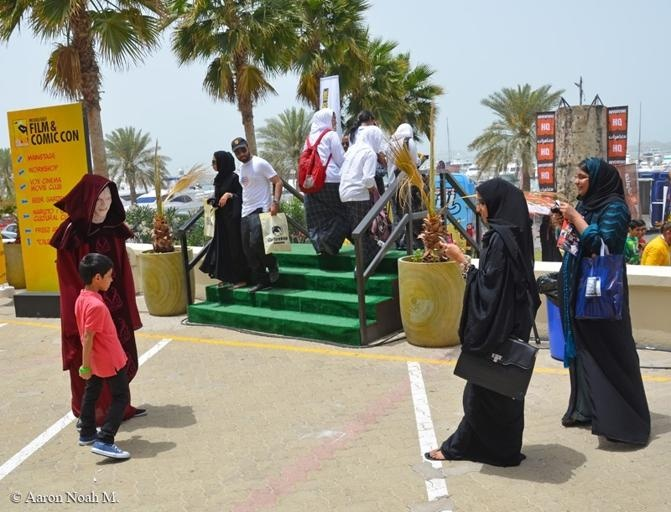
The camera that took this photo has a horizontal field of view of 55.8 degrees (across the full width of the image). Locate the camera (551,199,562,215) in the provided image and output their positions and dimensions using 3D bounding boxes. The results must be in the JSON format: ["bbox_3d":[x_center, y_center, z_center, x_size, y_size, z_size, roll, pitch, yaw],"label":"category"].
[{"bbox_3d":[2.013,-0.438,5.786,0.093,0.083,0.241,-21,11,11],"label":"camera"}]

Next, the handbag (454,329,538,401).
[{"bbox_3d":[1.233,0.848,4.897,0.694,0.542,0.249,15,-1,38],"label":"handbag"}]

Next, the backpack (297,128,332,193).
[{"bbox_3d":[-0.314,-1.283,8.719,0.502,0.852,0.350,5,13,34],"label":"backpack"}]

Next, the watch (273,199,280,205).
[{"bbox_3d":[-0.802,-0.747,8.708,0.082,0.056,0.077,3,-13,-28],"label":"watch"}]

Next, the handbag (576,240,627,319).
[{"bbox_3d":[2.235,0.209,5.374,0.355,0.646,0.238,2,12,22],"label":"handbag"}]

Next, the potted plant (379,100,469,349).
[{"bbox_3d":[1.147,-0.362,7.975,1.021,2.883,0.903,1,3,3],"label":"potted plant"}]

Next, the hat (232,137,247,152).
[{"bbox_3d":[-1.339,-1.531,8.902,0.214,0.185,0.179,-3,11,-3],"label":"hat"}]

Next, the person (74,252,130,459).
[{"bbox_3d":[-2.046,0.865,5.436,0.463,1.695,0.576,-7,12,-20],"label":"person"}]

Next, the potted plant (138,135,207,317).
[{"bbox_3d":[-2.696,-0.417,10.451,1.074,2.710,0.771,-4,-2,-8],"label":"potted plant"}]

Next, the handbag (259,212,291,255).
[{"bbox_3d":[-0.858,-0.302,8.798,0.463,0.636,0.128,-13,6,-4],"label":"handbag"}]

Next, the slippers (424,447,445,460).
[{"bbox_3d":[0.808,1.615,5.179,0.164,0.041,0.073,4,4,4],"label":"slippers"}]
